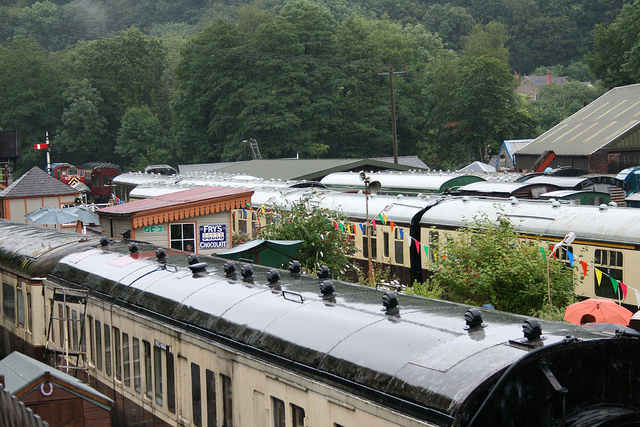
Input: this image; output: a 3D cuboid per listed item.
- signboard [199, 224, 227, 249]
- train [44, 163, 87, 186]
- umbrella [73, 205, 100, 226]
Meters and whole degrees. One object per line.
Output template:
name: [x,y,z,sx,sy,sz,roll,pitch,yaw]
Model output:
signboard: [-5.300,1.178,51.068,1.164,1.010,0.152,2,-11,-20]
train: [-22.947,-3.530,95.363,2.853,1.746,4.366,-3,8,-14]
umbrella: [-12.851,0.179,57.217,0.981,0.375,1.011,3,23,-10]
